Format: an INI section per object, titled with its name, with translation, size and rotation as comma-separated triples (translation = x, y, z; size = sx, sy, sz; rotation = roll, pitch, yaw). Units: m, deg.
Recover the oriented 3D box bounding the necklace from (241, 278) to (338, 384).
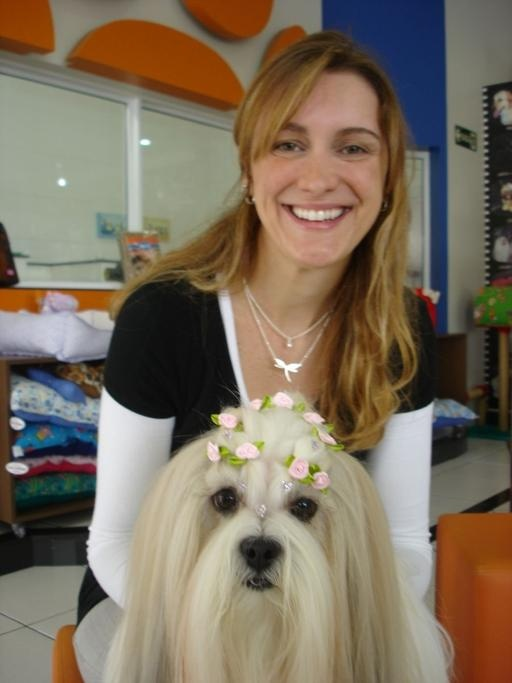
[necklace]
translation = 0.054, -0.004, 1.084
size = 0.184, 0.154, 0.046
rotation = 6, -19, -20
